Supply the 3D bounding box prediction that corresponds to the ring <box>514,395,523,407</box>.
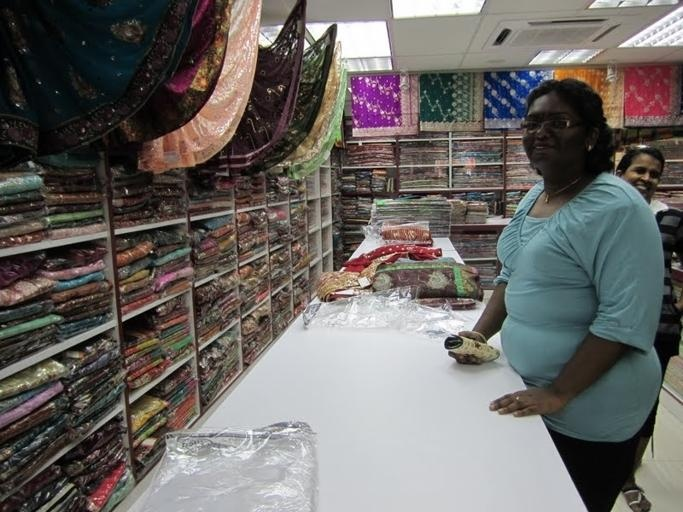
[{"bbox_3d":[0.545,0.443,1.292,0.018,0.022,0.009,2,-25,-3],"label":"ring"}]
